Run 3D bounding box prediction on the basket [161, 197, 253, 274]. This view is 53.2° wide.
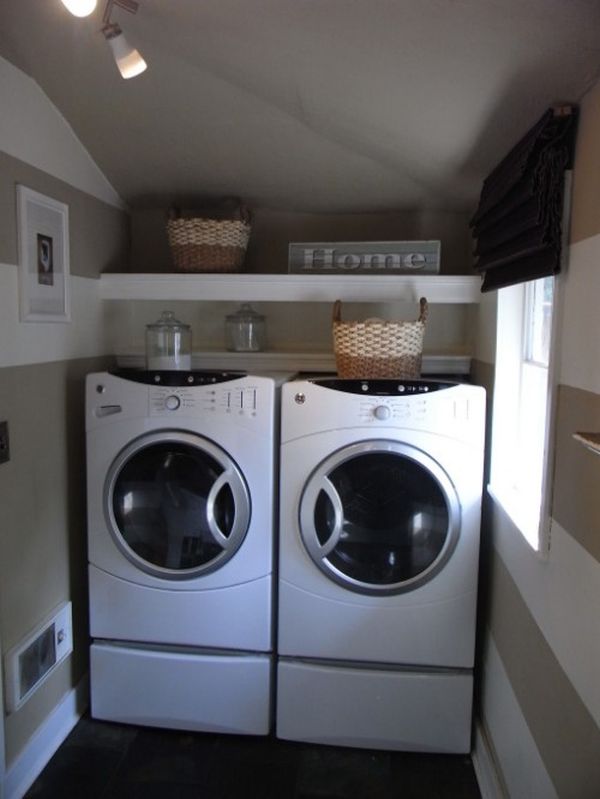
[{"bbox_3d":[-0.343,-0.599,2.294,0.259,0.216,0.320,0,2,-3],"label":"basket"}]

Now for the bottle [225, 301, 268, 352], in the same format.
[{"bbox_3d":[-0.208,-0.275,2.272,0.151,0.193,0.164,0,4,0],"label":"bottle"}]

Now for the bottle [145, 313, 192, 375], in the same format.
[{"bbox_3d":[-0.432,-0.195,1.979,0.148,0.185,0.219,-1,7,-15],"label":"bottle"}]
